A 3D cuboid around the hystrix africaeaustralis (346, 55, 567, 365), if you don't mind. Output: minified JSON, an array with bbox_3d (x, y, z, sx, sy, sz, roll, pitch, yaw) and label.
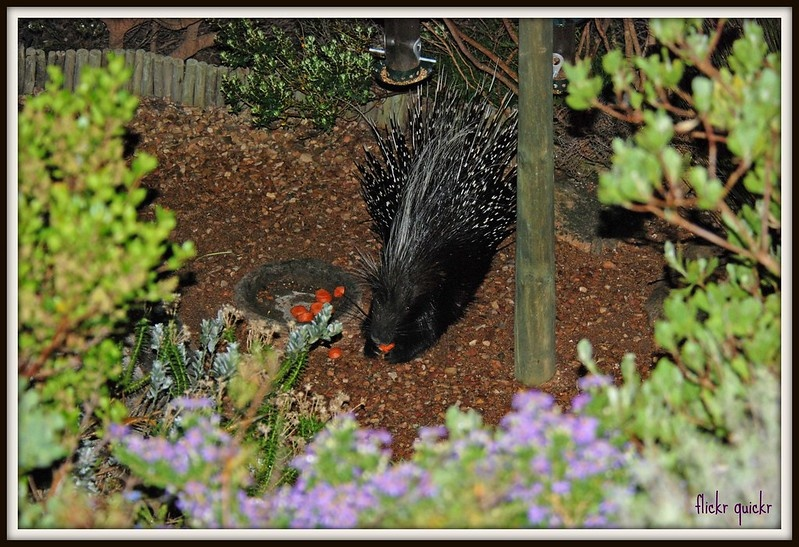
[{"bbox_3d":[0.266,-0.462,5.884,1.340,0.867,2.147,22,59,13],"label":"hystrix africaeaustralis"}]
